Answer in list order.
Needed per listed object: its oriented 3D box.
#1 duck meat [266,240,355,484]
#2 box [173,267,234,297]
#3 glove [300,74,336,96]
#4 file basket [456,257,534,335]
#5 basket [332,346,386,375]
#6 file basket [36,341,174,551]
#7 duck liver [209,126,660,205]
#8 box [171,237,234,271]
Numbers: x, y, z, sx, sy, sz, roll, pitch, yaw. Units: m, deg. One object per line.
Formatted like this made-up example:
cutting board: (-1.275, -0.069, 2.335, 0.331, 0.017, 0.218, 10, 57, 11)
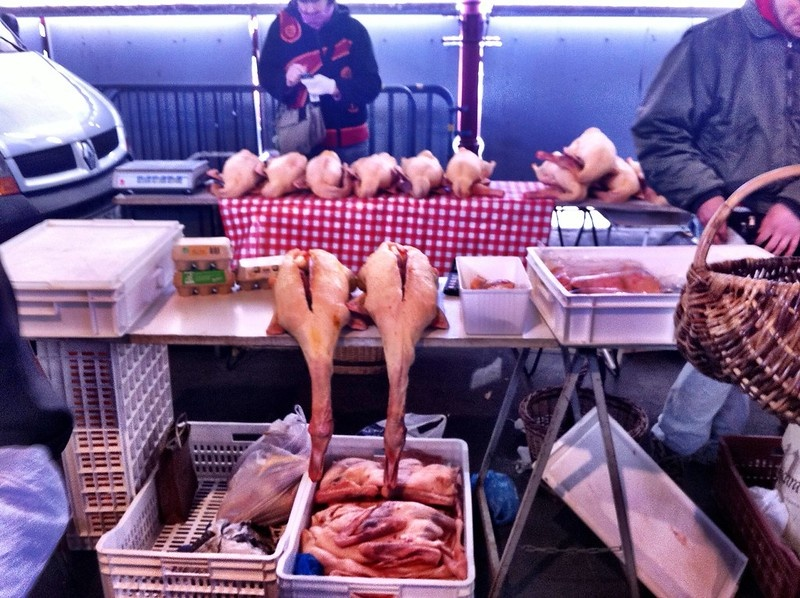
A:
duck meat: (-0.317, 0.230, 2.318, 0.317, 0.223, 0.842, 0, 70, -15)
box: (-0.813, -0.068, 2.625, 0.170, 0.088, 0.120, -3, 24, -8)
glove: (-0.564, -1.491, 4.435, 0.183, 0.079, 0.146, 19, 52, 17)
file basket: (0.380, -0.036, 2.528, 0.318, 0.217, 0.460, 1, 27, 4)
basket: (-0.287, 0.407, 4.207, 0.283, 0.232, 0.280, -5, 6, -44)
file basket: (-1.216, 0.554, 2.778, 0.366, 0.935, 0.435, 9, 22, 8)
duck liver: (0.214, -0.807, 4.079, 1.966, 0.334, 1.091, 0, 31, 0)
box: (-0.809, -0.187, 2.643, 0.169, 0.087, 0.138, -1, 23, -3)
